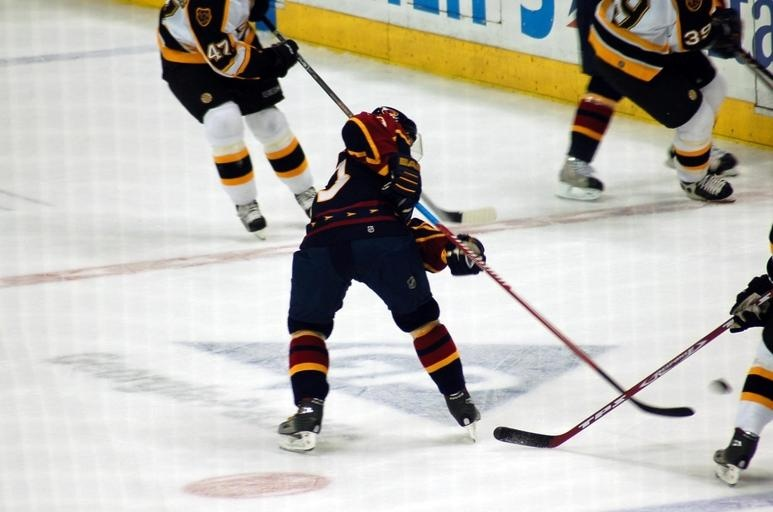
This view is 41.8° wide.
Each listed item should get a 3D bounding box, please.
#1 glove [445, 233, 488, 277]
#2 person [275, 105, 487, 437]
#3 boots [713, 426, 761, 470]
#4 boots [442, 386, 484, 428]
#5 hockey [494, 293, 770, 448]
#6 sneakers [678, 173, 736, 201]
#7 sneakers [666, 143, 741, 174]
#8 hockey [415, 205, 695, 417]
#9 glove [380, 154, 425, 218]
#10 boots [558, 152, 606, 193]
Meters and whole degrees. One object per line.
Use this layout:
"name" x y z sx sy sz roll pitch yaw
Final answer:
"glove" 0.348 0.008 4.348 0.178 0.186 0.177 9 65 19
"person" -0.163 0.069 4.313 0.802 1.266 0.885 -8 23 -6
"boots" 1.372 0.748 3.940 0.117 0.172 0.279 24 -11 5
"boots" 0.332 0.642 4.231 0.144 0.193 0.123 -9 23 -10
"hockey" 1.100 0.529 4.498 1.265 0.125 0.091 -26 22 2
"sneakers" 1.978 -0.428 6.210 0.397 0.162 0.115 5 71 34
"sneakers" 2.114 -0.623 6.543 0.216 0.217 0.585 -9 10 -30
"hockey" 0.826 0.297 4.920 0.112 0.159 1.612 -47 58 -6
"glove" 0.082 -0.293 4.289 0.129 0.194 0.247 -4 56 32
"boots" 1.218 -0.522 6.570 0.371 0.278 0.177 6 24 16
